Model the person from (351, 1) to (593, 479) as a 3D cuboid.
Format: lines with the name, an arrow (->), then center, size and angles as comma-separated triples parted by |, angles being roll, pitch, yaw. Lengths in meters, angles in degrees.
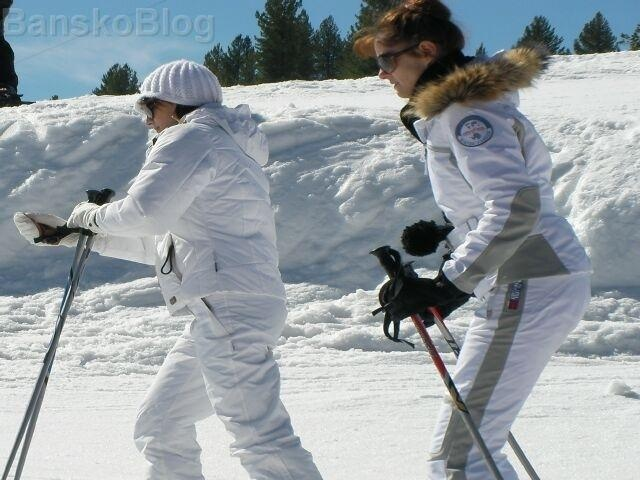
person -> 1.034, -0.024, 5.619 | 0.966, 3.144, 1.291 | -7, 15, -41

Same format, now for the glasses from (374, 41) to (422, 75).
glasses -> 0.502, -1.234, 5.722 | 0.298, 0.070, 0.195 | -15, 4, -12

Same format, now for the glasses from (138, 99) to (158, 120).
glasses -> -1.305, -0.967, 6.263 | 0.069, 0.146, 0.160 | -16, -32, 6
